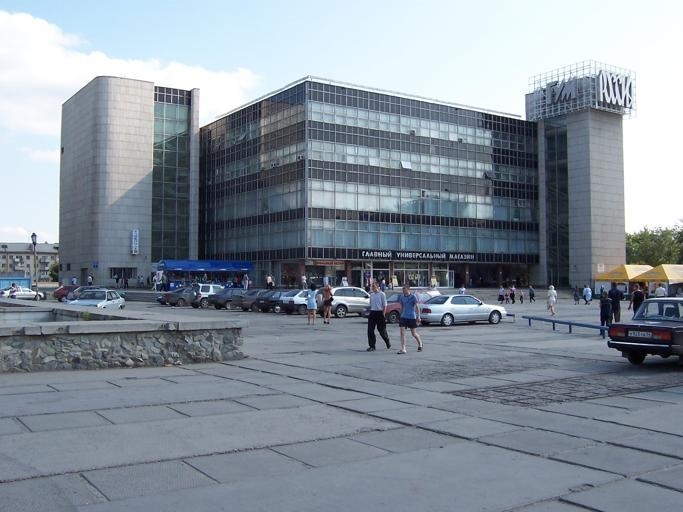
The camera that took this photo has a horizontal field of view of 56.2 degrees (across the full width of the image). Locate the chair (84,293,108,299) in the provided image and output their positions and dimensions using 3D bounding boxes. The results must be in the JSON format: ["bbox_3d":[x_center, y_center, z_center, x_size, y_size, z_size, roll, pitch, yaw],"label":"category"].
[{"bbox_3d":[-12.643,2.029,32.818,1.065,0.337,0.686,1,-1,-16],"label":"chair"}]

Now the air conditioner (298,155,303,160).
[{"bbox_3d":[-4.079,-9.915,64.611,0.453,0.441,0.663,0,-1,-28],"label":"air conditioner"}]
